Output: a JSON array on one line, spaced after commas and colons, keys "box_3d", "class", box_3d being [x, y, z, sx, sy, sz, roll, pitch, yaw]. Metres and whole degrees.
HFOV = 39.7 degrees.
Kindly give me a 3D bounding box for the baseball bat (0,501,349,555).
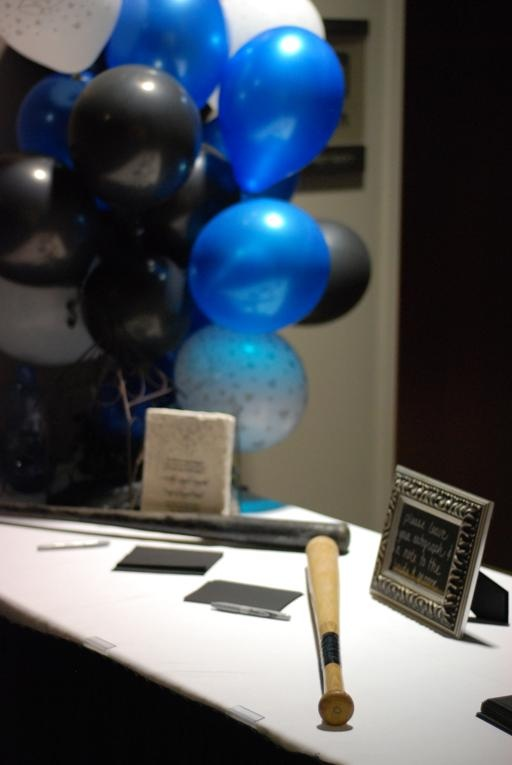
[{"box_3d": [-0.139, 0.227, 1.097, 0.535, 0.044, 0.050, 1, 77, 18], "class": "baseball bat"}]
